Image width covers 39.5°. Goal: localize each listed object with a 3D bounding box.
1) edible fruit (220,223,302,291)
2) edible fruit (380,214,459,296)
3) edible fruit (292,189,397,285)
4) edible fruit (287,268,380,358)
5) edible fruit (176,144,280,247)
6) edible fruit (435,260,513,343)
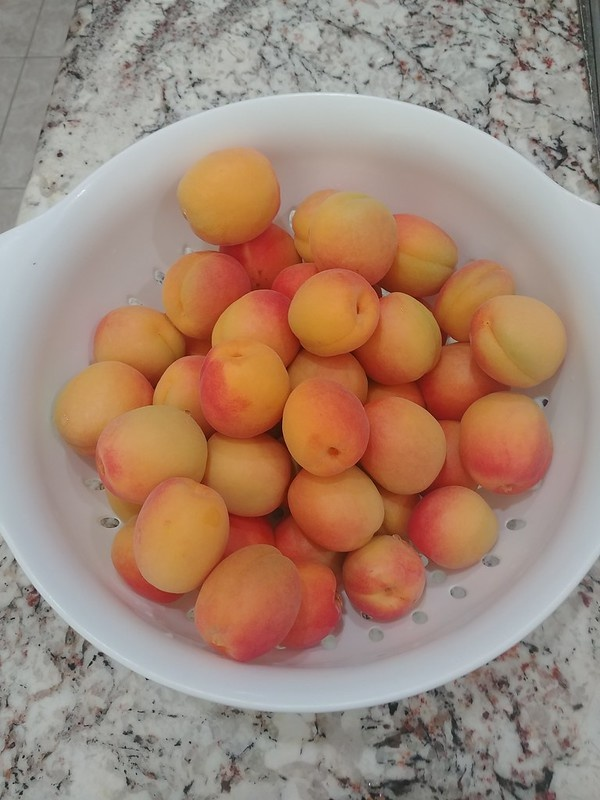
[{"bbox_3d":[-0.026,-0.134,0.721,0.050,0.044,0.049,-19,35,-11],"label":"edible fruit"},{"bbox_3d":[0.080,-0.121,0.699,0.092,0.059,0.062,1,18,-20],"label":"edible fruit"},{"bbox_3d":[0.038,-0.124,0.633,0.066,0.061,0.054,43,-11,16],"label":"edible fruit"},{"bbox_3d":[0.025,-0.061,0.596,0.069,0.057,0.068,-5,5,-19],"label":"edible fruit"},{"bbox_3d":[-0.068,-0.163,0.663,0.078,0.064,0.095,0,19,37],"label":"edible fruit"},{"bbox_3d":[0.139,-0.079,0.660,0.045,0.053,0.044,-30,57,-23],"label":"edible fruit"}]
